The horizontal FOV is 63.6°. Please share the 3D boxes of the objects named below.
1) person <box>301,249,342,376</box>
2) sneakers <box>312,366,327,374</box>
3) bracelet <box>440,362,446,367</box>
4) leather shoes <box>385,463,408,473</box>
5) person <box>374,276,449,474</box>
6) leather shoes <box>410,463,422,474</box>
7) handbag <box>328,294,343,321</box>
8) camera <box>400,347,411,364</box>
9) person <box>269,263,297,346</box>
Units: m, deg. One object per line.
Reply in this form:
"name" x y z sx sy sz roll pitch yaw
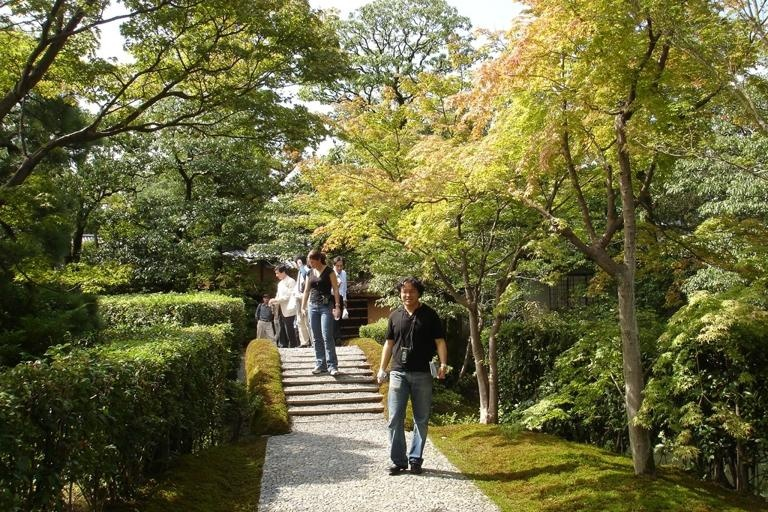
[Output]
"person" -1.186 1.148 11.694 0.632 2.508 1.337 -1 2 -7
"sneakers" -1.300 2.307 12.469 0.119 0.134 0.323 -1 -14 17
"bracelet" 0.747 1.390 7.920 0.125 0.060 0.174 1 -9 5
"leather shoes" 0.156 2.771 8.076 0.291 0.122 0.099 13 -17 -32
"person" 0.351 1.550 8.069 0.811 2.524 0.852 -1 2 -10
"leather shoes" 0.399 2.742 7.992 0.099 0.157 0.169 0 -19 -4
"handbag" -0.909 0.960 11.566 0.288 0.456 0.119 0 0 2
"camera" 0.249 1.262 7.846 0.143 0.182 0.068 3 -3 7
"person" -2.405 1.290 15.704 0.900 2.116 0.716 -4 8 7
